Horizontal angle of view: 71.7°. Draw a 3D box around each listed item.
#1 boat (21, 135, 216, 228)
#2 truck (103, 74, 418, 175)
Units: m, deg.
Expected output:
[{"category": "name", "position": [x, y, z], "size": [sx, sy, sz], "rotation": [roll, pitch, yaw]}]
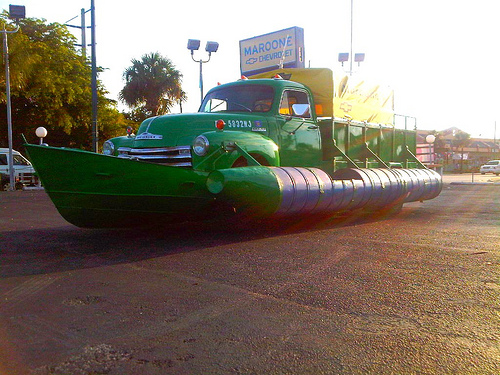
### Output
[{"category": "boat", "position": [-2.029, 0.069, 5.315], "size": [3.135, 0.916, 1.181], "rotation": [9, -8, -42]}, {"category": "truck", "position": [1.165, -1.198, 9.267], "size": [8.113, 2.143, 3.900], "rotation": [2, -3, -42]}]
